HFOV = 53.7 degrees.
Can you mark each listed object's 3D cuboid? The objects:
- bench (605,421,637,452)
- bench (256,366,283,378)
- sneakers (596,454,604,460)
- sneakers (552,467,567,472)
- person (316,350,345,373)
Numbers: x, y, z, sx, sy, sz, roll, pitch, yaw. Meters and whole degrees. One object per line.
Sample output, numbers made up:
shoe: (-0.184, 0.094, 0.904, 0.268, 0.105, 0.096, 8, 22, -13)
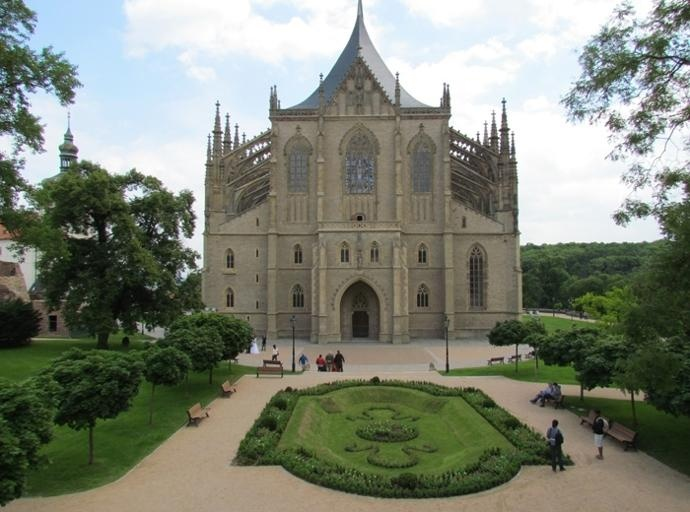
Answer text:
bench: (14.925, 9.712, 36.799, 1.032, 0.879, 1.677, -8, 15, -30)
bench: (-5.346, 8.154, 48.766, 1.906, 0.565, 2.274, -1, 13, -6)
sneakers: (13.234, 10.444, 35.445, 0.304, 0.163, 0.275, 4, 13, 16)
sneakers: (10.825, 10.765, 34.449, 0.697, 0.166, 0.285, 1, 13, 3)
person: (-0.970, 7.768, 50.192, 1.562, 1.055, 1.514, -1, 0, 6)
